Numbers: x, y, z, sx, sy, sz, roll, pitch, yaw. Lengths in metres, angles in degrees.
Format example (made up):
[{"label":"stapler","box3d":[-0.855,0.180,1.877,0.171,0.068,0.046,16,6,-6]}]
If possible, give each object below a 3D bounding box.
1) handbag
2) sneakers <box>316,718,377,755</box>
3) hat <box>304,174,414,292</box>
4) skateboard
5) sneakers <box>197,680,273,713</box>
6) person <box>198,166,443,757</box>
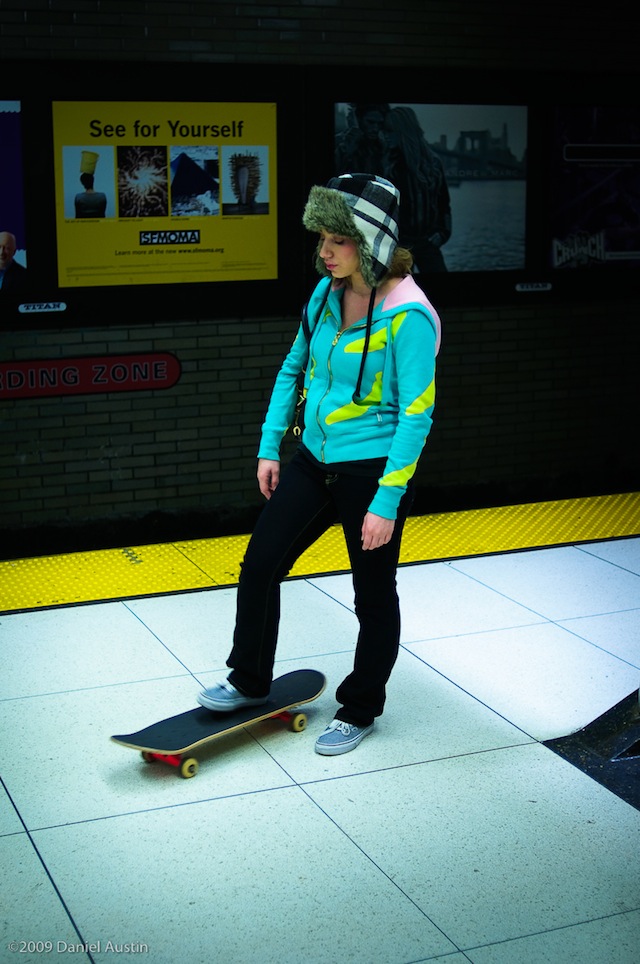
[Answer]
[{"label":"handbag","box3d":[-0.121,-0.357,2.895,0.143,0.881,0.132,6,-11,31]},{"label":"sneakers","box3d":[0.085,0.838,2.702,0.067,0.068,0.199,13,15,41]},{"label":"hat","box3d":[0.101,-0.758,2.426,0.316,0.317,0.323,-6,23,-16]},{"label":"skateboard","box3d":[-0.267,0.789,2.686,0.217,0.149,0.855,14,22,41]},{"label":"sneakers","box3d":[-0.277,0.694,2.637,0.217,0.081,0.077,5,2,-28]},{"label":"person","box3d":[0.021,-0.027,2.595,0.669,1.815,0.518,4,9,12]}]
